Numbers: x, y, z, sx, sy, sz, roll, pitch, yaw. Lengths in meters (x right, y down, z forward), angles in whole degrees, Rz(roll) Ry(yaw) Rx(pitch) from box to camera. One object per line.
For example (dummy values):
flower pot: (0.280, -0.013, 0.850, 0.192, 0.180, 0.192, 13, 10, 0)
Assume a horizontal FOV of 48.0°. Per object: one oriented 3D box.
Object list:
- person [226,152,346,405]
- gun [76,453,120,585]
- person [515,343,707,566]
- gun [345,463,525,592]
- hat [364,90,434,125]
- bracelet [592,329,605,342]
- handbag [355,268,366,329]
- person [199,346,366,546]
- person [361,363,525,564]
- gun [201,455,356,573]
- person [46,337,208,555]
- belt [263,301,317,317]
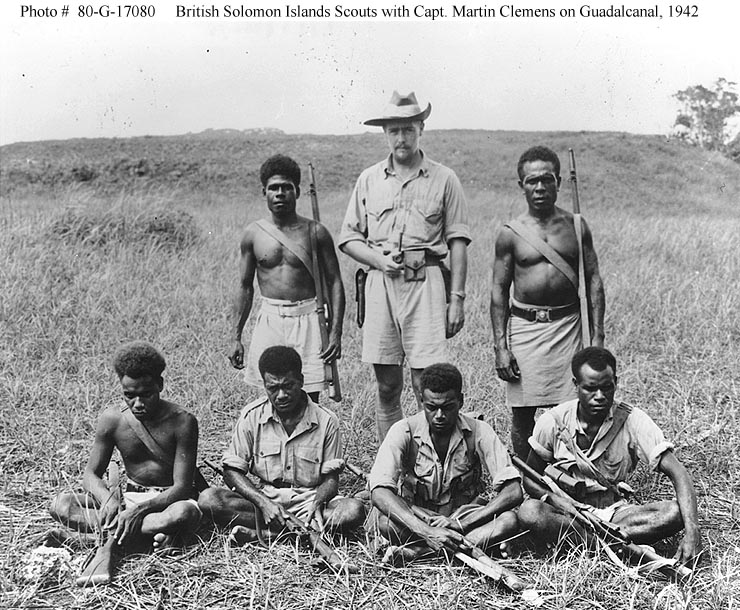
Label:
person: (-0.604, 0.107, 5.932, 0.678, 2.367, 0.664, -1, -2, -4)
gun: (-1.640, 1.367, 5.059, 0.166, 0.168, 0.612, 1, 27, -10)
person: (1.462, 0.939, 5.079, 0.957, 1.352, 1.306, -3, 2, -35)
gun: (0.529, 1.354, 4.994, 0.152, 0.119, 0.933, -9, 30, -43)
hat: (0.193, -1.400, 5.975, 0.423, 0.259, 0.449, 2, 16, 6)
bracelet: (1.575, 0.228, 5.741, 0.068, 0.079, 0.109, 2, 15, 6)
handbag: (-0.058, -0.034, 6.142, 0.097, 0.421, 0.117, 9, -16, -34)
person: (-0.566, 0.899, 5.400, 0.965, 1.291, 0.846, -1, 5, -10)
person: (0.424, 0.999, 5.289, 0.878, 1.260, 0.920, -3, 7, -14)
gun: (-0.578, 1.334, 5.241, 0.688, 0.060, 0.230, 36, 24, 10)
person: (-1.489, 0.883, 5.301, 0.834, 1.276, 0.863, 1, 0, 11)
belt: (-0.585, 0.020, 5.911, 0.399, 0.107, 0.117, 2, 15, 5)
